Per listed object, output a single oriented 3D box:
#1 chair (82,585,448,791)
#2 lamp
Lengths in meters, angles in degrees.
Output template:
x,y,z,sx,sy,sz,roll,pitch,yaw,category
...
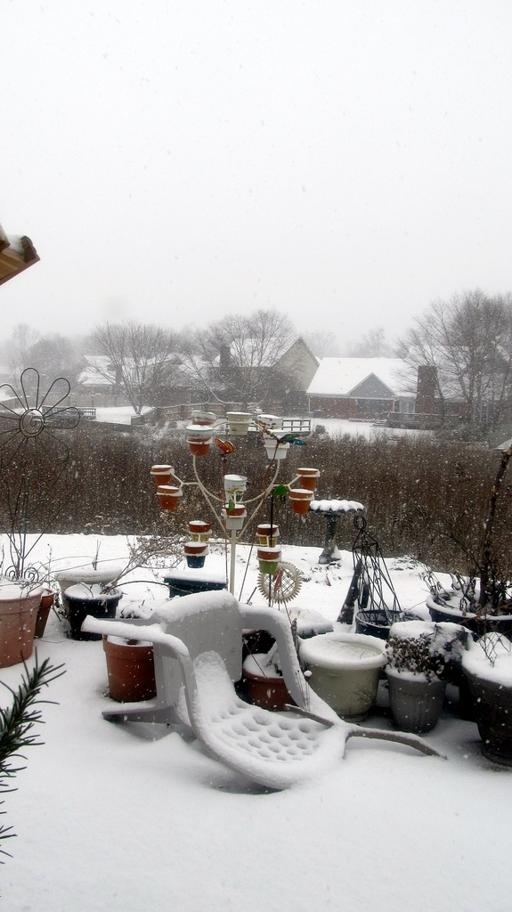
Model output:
x,y,z,sx,sy,sz,roll,pitch,yaw,category
-0.105,1.083,3.014,1.301,0.635,0.802,2,2,33,chair
-0.128,0.355,4.027,0.959,1.336,0.266,2,23,-5,lamp
